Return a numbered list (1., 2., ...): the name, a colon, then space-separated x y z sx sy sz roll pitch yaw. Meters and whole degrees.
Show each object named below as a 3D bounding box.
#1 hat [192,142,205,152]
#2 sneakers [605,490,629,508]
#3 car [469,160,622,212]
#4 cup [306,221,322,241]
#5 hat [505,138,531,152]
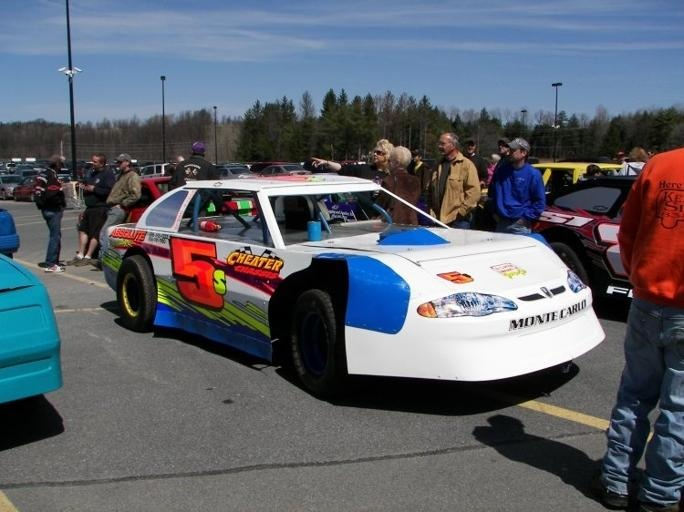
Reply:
1. hat: -2.564 -1.936 10.163 0.184 0.101 0.261 3 13 -23
2. sneakers: 1.590 1.417 3.307 0.079 0.055 0.140 -1 -4 -18
3. car: 4.265 -1.574 11.397 1.448 1.099 2.266 -14 16 -41
4. cup: -0.256 -0.247 5.595 0.170 0.200 0.167 2 5 0
5. hat: 2.273 -1.416 7.323 0.240 0.133 0.179 16 6 -17
